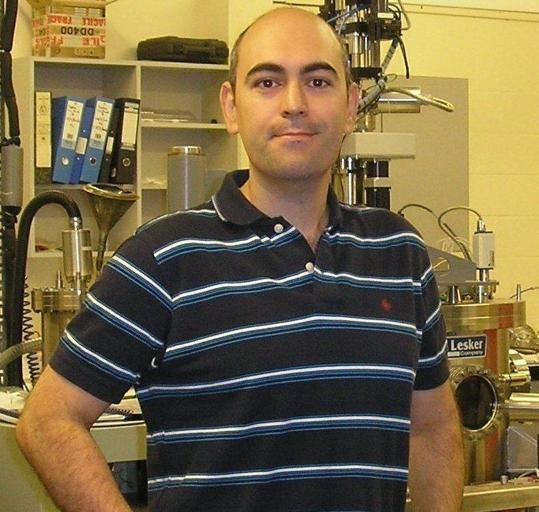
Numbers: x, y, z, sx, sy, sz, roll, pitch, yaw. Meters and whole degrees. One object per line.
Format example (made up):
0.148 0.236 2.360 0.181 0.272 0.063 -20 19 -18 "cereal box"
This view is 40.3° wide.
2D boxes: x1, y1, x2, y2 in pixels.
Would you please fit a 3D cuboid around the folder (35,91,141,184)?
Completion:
-0.806 -0.527 3.346 0.395 0.461 0.127 -10 13 -42 "folder"
